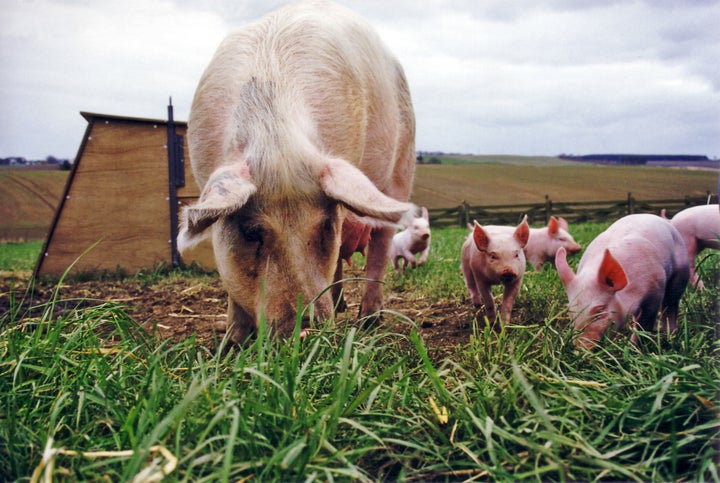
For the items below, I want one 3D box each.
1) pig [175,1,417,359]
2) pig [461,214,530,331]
[{"bbox_3d":[-0.421,-0.407,4.448,1.276,2.433,2.764,1,26,0],"label":"pig"},{"bbox_3d":[1.194,0.225,5.365,0.568,0.949,1.184,2,11,10],"label":"pig"}]
